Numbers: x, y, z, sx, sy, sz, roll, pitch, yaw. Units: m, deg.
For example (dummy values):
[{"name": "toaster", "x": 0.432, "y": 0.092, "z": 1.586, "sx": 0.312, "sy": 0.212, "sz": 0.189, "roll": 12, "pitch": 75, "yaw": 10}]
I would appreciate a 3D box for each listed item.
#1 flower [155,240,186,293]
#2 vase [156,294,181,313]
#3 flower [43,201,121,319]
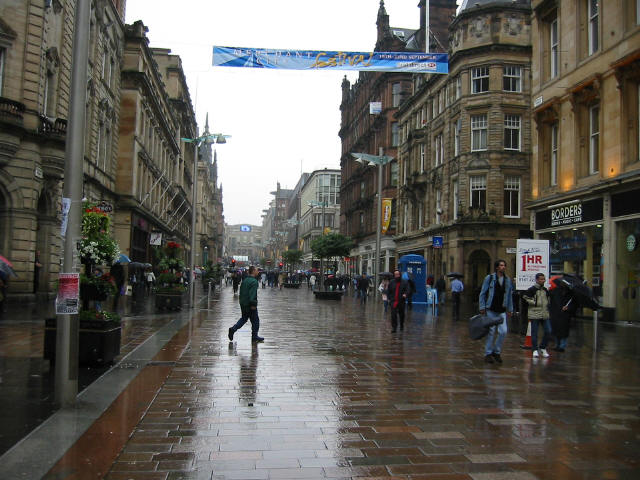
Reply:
[{"name": "flower", "x": -6.302, "y": 1.075, "z": 25.953, "sx": 1.010, "sy": 1.974, "sz": 1.068, "roll": 7, "pitch": -3, "yaw": -22}, {"name": "vase", "x": -5.817, "y": 2.421, "z": 23.571, "sx": 0.684, "sy": 0.494, "sz": 0.728, "roll": 0, "pitch": -4, "yaw": 0}, {"name": "flower", "x": -4.534, "y": 0.355, "z": 12.234, "sx": 1.025, "sy": 2.175, "sz": 1.101, "roll": -13, "pitch": -5, "yaw": 35}]
